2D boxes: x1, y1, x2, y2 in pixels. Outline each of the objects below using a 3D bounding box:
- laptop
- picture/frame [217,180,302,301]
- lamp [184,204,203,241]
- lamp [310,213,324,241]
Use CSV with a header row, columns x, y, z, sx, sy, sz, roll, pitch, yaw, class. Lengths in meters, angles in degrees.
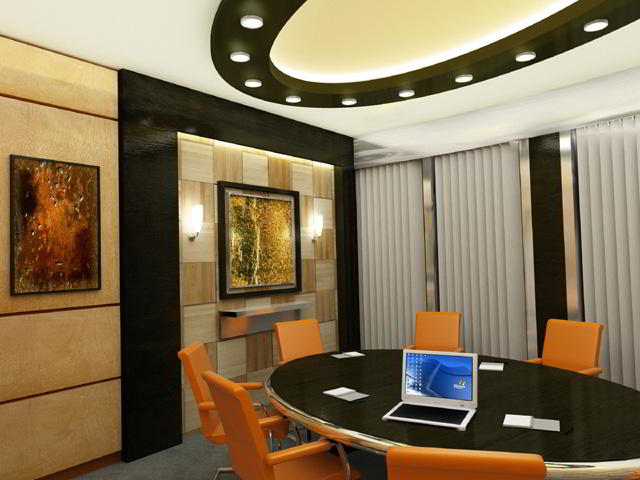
x,y,z,sx,sy,sz,roll,pitch,yaw,class
0.735,0.981,3.165,0.525,0.363,0.434,-2,-3,27,laptop
-0.813,0.013,6.028,1.670,1.734,0.117,5,-9,-44,picture/frame
-1.410,-0.197,5.446,0.119,0.426,0.237,1,8,36,lamp
-0.019,-0.179,6.924,0.083,0.391,0.314,1,7,31,lamp
